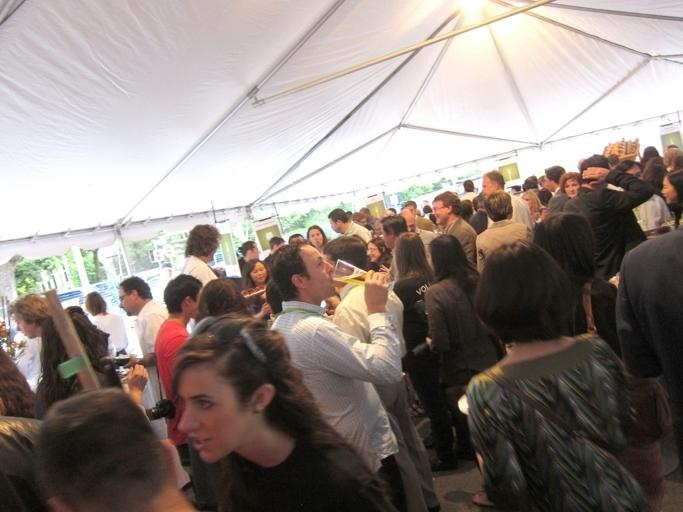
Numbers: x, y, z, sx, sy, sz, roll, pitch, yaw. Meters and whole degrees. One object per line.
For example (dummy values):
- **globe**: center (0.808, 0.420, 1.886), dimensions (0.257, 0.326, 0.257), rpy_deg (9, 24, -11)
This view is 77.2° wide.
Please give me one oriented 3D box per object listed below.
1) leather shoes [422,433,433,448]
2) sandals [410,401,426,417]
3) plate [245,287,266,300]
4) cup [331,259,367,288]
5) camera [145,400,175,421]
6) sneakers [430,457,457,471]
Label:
- **leather shoes**: center (0.856, 1.793, 4.241), dimensions (0.093, 0.140, 0.196), rpy_deg (-12, 2, 9)
- **sandals**: center (0.872, 1.763, 4.980), dimensions (0.152, 0.154, 0.225), rpy_deg (-12, 2, 1)
- **plate**: center (-0.936, 0.406, 4.680), dimensions (0.213, 0.113, 0.356), rpy_deg (-13, 2, -12)
- **cup**: center (0.054, 0.093, 2.520), dimensions (0.154, 0.149, 0.321), rpy_deg (-13, 1, -21)
- **camera**: center (-1.071, 0.911, 2.572), dimensions (0.181, 0.126, 0.081), rpy_deg (-10, -5, -30)
- **sneakers**: center (0.903, 1.839, 3.830), dimensions (0.255, 0.110, 0.097), rpy_deg (1, -1, -3)
